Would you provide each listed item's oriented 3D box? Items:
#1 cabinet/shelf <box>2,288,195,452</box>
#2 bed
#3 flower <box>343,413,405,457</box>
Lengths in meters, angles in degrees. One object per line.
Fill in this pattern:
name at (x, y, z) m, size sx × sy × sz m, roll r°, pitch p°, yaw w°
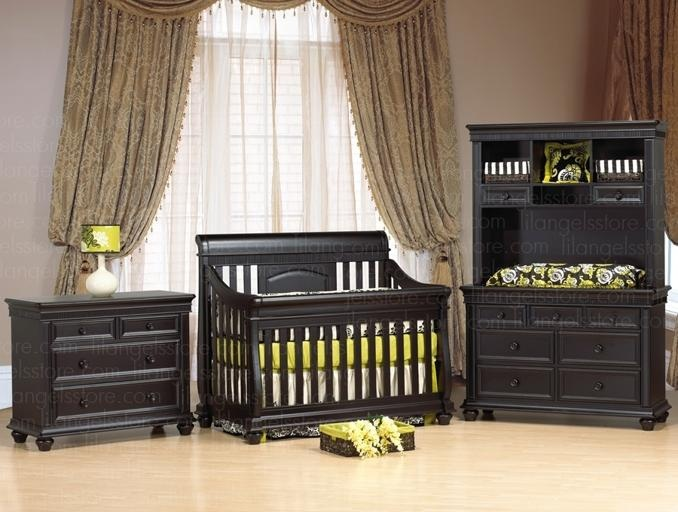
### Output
cabinet/shelf at (-1.549, 0.653, 5.001) m, size 1.406 × 1.288 × 0.814 m, roll 0°, pitch -2°, yaw -31°
bed at (-0.134, 0.484, 5.179) m, size 1.679 × 1.303 × 0.869 m, roll -3°, pitch 6°, yaw -19°
flower at (0.209, 1.073, 4.435) m, size 0.332 × 0.209 × 0.184 m, roll -1°, pitch 5°, yaw -6°
